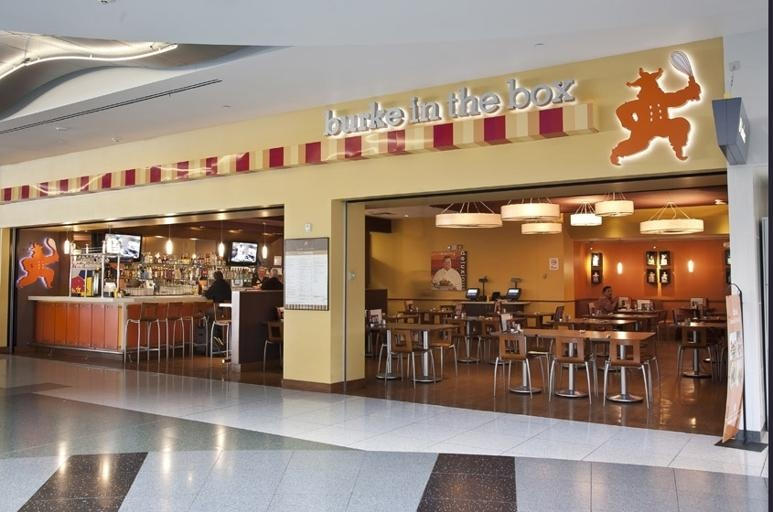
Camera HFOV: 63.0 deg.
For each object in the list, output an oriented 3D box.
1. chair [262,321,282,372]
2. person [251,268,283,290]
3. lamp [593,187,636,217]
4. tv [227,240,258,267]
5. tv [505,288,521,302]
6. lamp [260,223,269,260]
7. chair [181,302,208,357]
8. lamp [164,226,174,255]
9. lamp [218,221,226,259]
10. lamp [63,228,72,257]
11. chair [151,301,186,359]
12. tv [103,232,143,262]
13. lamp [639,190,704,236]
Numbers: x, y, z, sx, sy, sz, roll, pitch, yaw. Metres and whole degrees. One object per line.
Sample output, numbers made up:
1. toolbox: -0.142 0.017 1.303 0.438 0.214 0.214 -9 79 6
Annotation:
1. chair: -2.312 1.804 12.861 0.389 0.963 0.749 3 -4 -10
2. person: -2.650 0.571 14.219 0.754 0.349 0.961 4 -2 -23
3. lamp: 4.526 -1.086 12.604 0.645 0.623 0.599 1 4 -5
4. tv: -4.349 -0.049 19.144 0.199 0.729 0.992 -1 -5 37
5. tv: 3.618 1.106 18.106 0.404 0.344 0.356 -2 -2 34
6. lamp: -3.753 -0.370 19.406 0.299 0.991 0.802 3 -4 -10
7. chair: -4.660 1.708 14.919 0.585 0.999 0.570 -9 -6 -2
8. lamp: -6.099 -0.410 17.700 0.229 0.772 0.375 3 -4 -5
9. lamp: -4.854 -0.377 18.609 0.239 0.869 0.352 3 -4 -8
10. lamp: -8.209 -0.343 16.360 0.232 0.627 0.551 5 -5 -34
11. chair: -4.911 1.554 14.113 0.725 1.052 0.709 10 -14 -35
12. tv: -6.729 -0.269 16.106 0.681 0.699 1.894 3 -4 -13
13. lamp: 6.518 -0.863 14.708 1.451 0.700 1.362 0 1 10
